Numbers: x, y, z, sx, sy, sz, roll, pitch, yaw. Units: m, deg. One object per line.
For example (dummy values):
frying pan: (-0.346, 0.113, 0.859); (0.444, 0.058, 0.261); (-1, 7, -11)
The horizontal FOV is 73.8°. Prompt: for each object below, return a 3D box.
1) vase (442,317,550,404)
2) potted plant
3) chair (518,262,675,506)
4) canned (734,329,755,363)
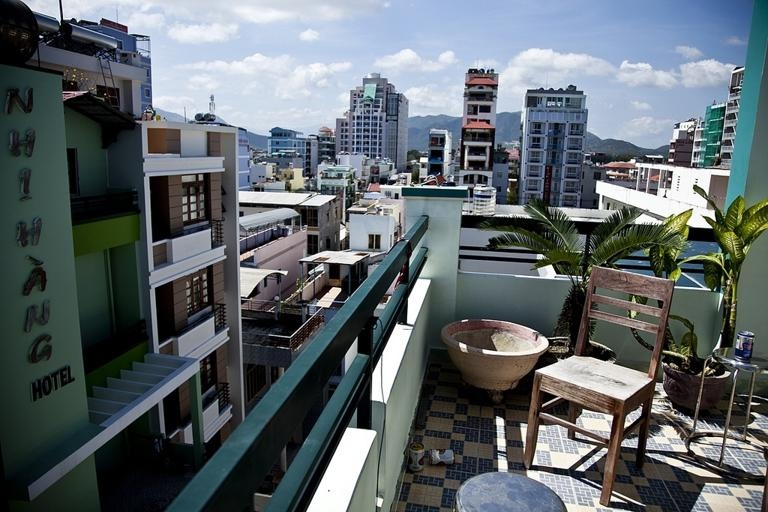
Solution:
vase: (1.142, 1.029, 5.397); (0.927, 0.526, 0.917); (-4, 20, -14)
potted plant: (2.861, 0.467, 6.024); (2.311, 1.413, 2.372); (2, 3, 27)
chair: (1.901, 1.066, 4.562); (0.838, 1.799, 1.224); (12, 17, 42)
canned: (3.232, 0.807, 4.598); (0.133, 0.242, 0.184); (9, 16, 35)
